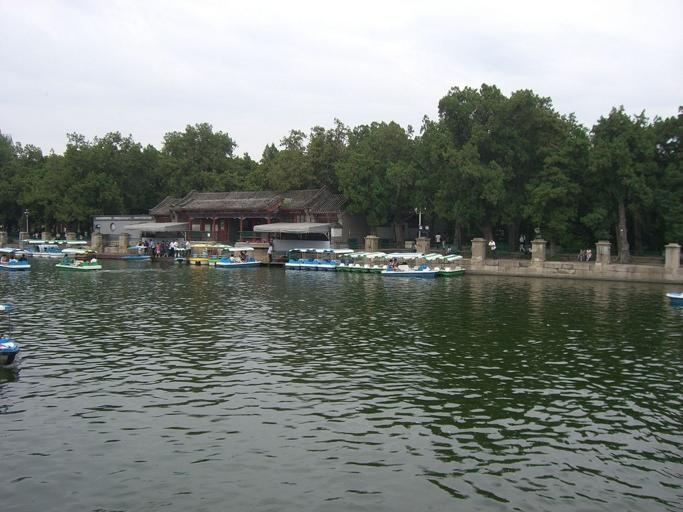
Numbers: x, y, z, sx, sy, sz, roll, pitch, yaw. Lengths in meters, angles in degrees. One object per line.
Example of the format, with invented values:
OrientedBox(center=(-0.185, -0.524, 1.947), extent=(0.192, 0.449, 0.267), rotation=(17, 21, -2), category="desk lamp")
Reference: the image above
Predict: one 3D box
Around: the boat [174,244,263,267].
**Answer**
OrientedBox(center=(-11.272, -0.051, 69.818), extent=(6.897, 1.452, 2.419), rotation=(5, 12, 32), category="boat")

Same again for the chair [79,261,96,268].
OrientedBox(center=(-19.928, 0.719, 59.601), extent=(0.664, 0.355, 1.132), rotation=(10, 14, 37), category="chair")
